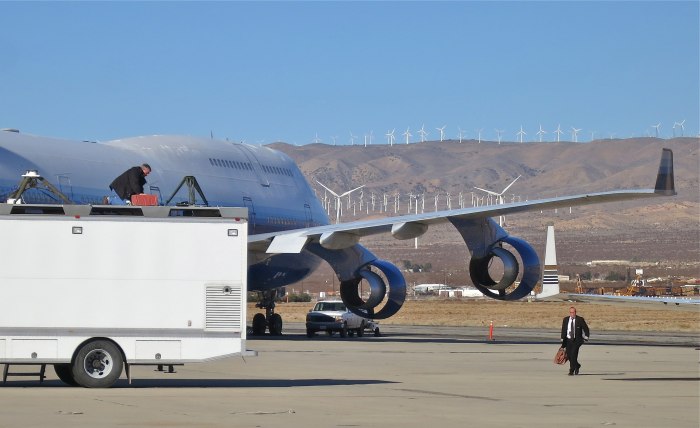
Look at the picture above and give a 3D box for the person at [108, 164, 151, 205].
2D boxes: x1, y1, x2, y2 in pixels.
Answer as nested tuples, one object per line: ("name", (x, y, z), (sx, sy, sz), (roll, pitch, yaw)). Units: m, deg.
("person", (-7.041, -1.018, 42.274), (1.046, 1.215, 1.111), (2, -1, -24))
